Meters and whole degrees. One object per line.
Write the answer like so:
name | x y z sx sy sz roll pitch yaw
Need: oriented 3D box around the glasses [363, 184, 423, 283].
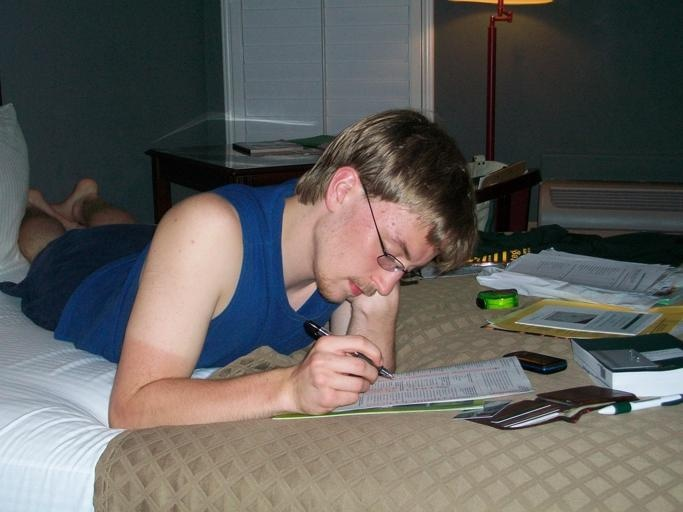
glasses | 0.095 -0.049 0.949 0.058 0.151 0.174 -25 -18 25

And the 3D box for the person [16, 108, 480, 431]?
person | -0.363 0.012 1.353 1.292 0.486 0.590 3 -2 45

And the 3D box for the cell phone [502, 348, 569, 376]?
cell phone | 0.380 0.200 0.983 0.045 0.014 0.074 -6 9 -44

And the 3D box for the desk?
desk | -0.539 -0.257 2.442 0.616 0.536 0.668 -5 15 -20

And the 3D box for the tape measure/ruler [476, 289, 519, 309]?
tape measure/ruler | 0.398 0.099 1.293 0.079 0.027 0.063 0 5 1
